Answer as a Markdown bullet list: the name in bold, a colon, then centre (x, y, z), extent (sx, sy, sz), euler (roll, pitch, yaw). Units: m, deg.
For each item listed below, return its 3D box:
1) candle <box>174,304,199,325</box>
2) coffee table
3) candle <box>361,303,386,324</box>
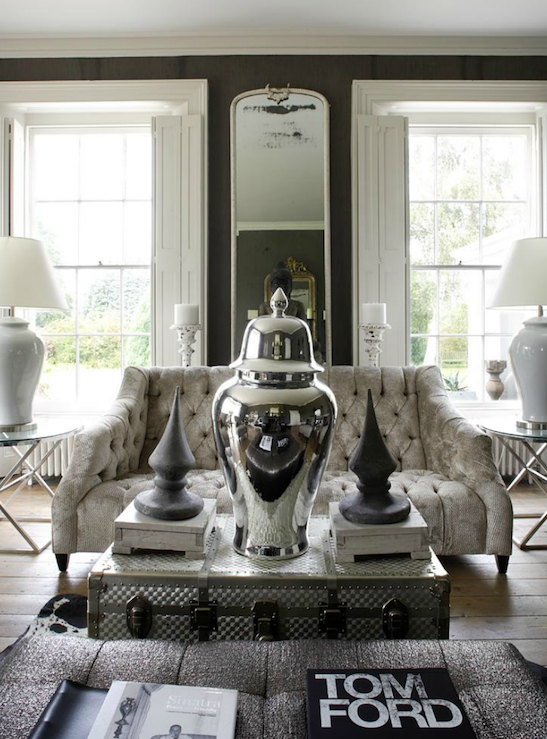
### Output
- **candle**: centre (-0.487, -0.305, 3.505), extent (0.117, 0.095, 0.116), euler (6, 6, 29)
- **coffee table**: centre (-0.024, 0.513, 1.523), extent (0.810, 0.170, 0.325), euler (-2, 6, -8)
- **candle**: centre (0.554, -0.315, 3.597), extent (0.136, 0.120, 0.132), euler (2, 4, 11)
